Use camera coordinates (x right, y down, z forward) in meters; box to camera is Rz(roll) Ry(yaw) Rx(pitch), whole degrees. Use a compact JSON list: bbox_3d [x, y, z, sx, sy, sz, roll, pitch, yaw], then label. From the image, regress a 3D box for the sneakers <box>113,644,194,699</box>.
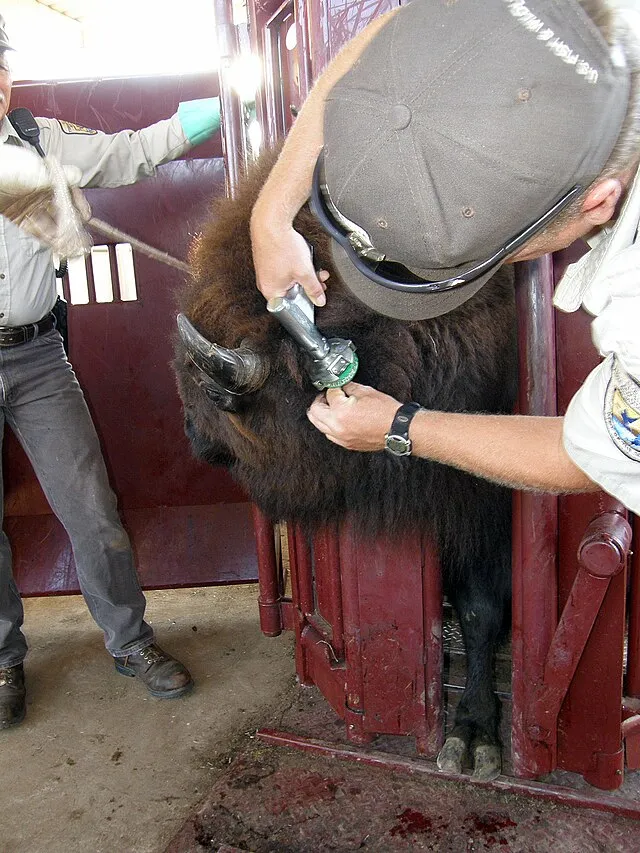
[{"bbox_3d":[-0.568,0.831,2.645,0.325,0.129,0.128,5,17,43],"label":"sneakers"}]
